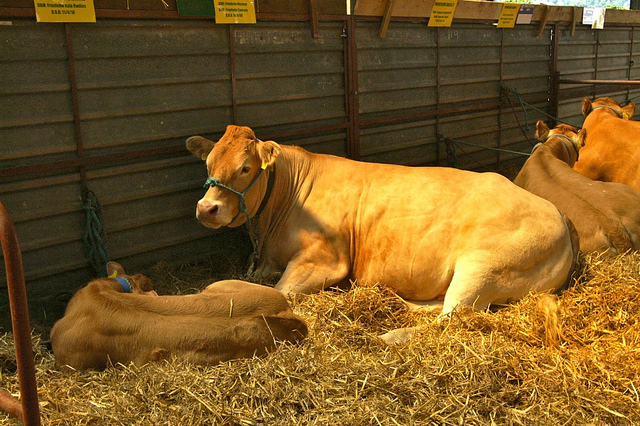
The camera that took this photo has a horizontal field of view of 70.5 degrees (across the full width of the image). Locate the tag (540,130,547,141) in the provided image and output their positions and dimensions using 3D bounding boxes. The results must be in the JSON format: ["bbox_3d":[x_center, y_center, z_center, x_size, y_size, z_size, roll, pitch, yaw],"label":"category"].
[{"bbox_3d":[3.297,-1.136,6.661,0.083,0.096,0.102,5,4,-14],"label":"tag"}]

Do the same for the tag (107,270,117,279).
[{"bbox_3d":[-1.711,0.508,3.724,0.062,0.056,0.044,13,14,-12],"label":"tag"}]

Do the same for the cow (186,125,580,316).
[{"bbox_3d":[0.724,0.047,4.647,4.708,1.619,1.616,7,3,16],"label":"cow"}]

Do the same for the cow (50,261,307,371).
[{"bbox_3d":[-1.004,0.790,3.382,1.793,0.622,0.858,-2,28,7],"label":"cow"}]

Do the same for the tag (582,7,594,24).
[{"bbox_3d":[5.785,-4.280,9.757,0.402,0.403,0.045,-15,33,-28],"label":"tag"}]

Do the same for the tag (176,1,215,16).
[{"bbox_3d":[-1.354,-2.234,4.942,0.426,0.159,0.028,-14,28,-35],"label":"tag"}]
